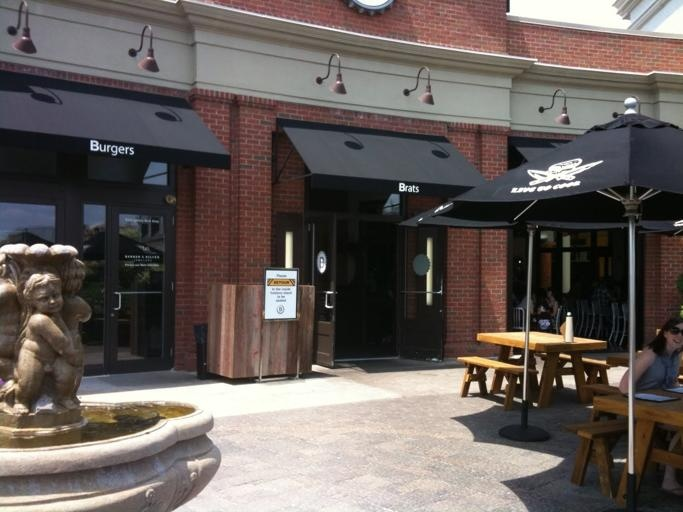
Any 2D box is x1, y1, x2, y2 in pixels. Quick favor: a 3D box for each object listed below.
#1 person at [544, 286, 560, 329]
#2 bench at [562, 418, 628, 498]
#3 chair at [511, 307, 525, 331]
[{"bbox_3d":[5.895,1.605,20.003,0.514,1.280,0.438,-1,9,10],"label":"person"},{"bbox_3d":[2.847,2.223,7.884,0.406,0.611,0.759,2,-4,35],"label":"bench"},{"bbox_3d":[4.768,1.735,19.090,0.424,0.613,0.791,-1,0,-8],"label":"chair"}]
